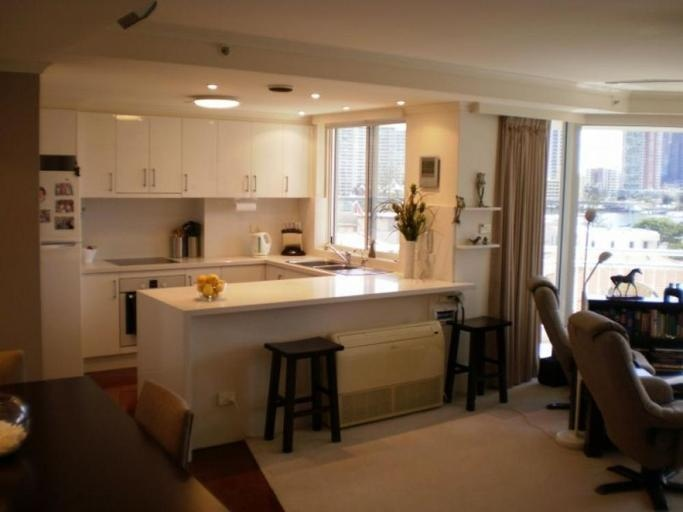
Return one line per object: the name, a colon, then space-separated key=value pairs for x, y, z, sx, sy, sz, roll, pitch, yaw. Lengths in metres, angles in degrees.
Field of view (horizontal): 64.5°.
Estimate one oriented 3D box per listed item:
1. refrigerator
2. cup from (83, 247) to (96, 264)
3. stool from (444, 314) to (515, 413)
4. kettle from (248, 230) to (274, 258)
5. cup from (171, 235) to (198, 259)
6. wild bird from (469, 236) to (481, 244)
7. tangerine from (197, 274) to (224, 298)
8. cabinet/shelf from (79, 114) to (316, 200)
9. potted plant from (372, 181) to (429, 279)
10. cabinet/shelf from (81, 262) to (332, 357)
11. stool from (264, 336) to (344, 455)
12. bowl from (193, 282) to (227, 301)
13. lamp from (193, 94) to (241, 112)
refrigerator: x=-2.711 y=0.182 z=5.218 sx=0.385 sy=1.964 sz=0.246 roll=-3 pitch=10 yaw=-26
cup: x=-2.851 y=-0.012 z=6.112 sx=0.109 sy=0.167 sz=0.214 roll=0 pitch=9 yaw=-9
stool: x=1.355 y=1.016 z=5.351 sx=0.725 sy=0.800 sz=0.496 roll=-4 pitch=10 yaw=-28
kettle: x=-0.949 y=-0.148 z=6.864 sx=0.210 sy=0.344 sz=0.336 roll=2 pitch=3 yaw=35
cup: x=-1.941 y=-0.115 z=6.688 sx=0.369 sy=0.284 sz=0.202 roll=0 pitch=2 yaw=-25
wild bird: x=1.363 y=-0.157 z=5.501 sx=0.083 sy=0.058 sz=0.082 roll=-2 pitch=-1 yaw=-38
tangerine: x=-1.055 y=0.236 z=4.414 sx=0.181 sy=0.160 sz=0.193 roll=2 pitch=5 yaw=7
cabinet/shelf: x=-1.649 y=-1.150 z=6.333 sx=2.572 sy=0.891 sz=0.283 roll=-2 pitch=9 yaw=-22
potted plant: x=0.644 y=-0.304 z=5.879 sx=0.378 sy=0.961 sz=0.715 roll=-1 pitch=9 yaw=-16
cabinet/shelf: x=-1.549 y=0.588 z=6.110 sx=2.538 sy=0.998 sz=1.474 roll=-2 pitch=9 yaw=-18
stool: x=-0.313 y=1.097 z=4.359 sx=0.586 sy=0.777 sz=0.458 roll=-1 pitch=2 yaw=-39
bowl: x=-1.059 y=0.273 z=4.385 sx=0.210 sy=0.138 sz=0.280 roll=-2 pitch=9 yaw=-18
lamp: x=-1.234 y=-1.519 z=5.314 sx=0.419 sy=0.090 sz=0.246 roll=-2 pitch=9 yaw=-18
